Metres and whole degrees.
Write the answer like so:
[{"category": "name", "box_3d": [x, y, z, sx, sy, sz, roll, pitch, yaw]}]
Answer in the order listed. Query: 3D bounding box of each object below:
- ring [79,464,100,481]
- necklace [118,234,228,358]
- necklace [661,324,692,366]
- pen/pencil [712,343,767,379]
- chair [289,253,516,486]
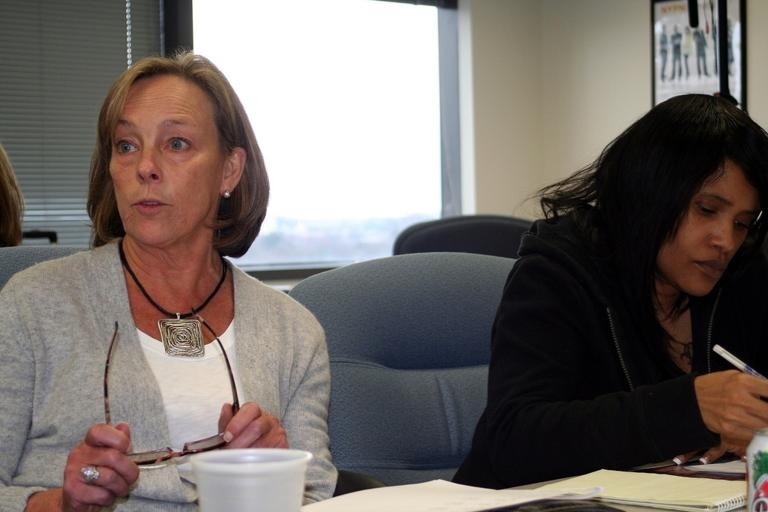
[{"category": "ring", "box_3d": [-0.500, 0.373, 1.140, 0.028, 0.023, 0.009, 6, 11, 3]}, {"category": "necklace", "box_3d": [-0.489, 0.097, 1.517, 0.301, 0.041, 0.385, 6, 49, -23]}, {"category": "necklace", "box_3d": [0.722, 0.216, 1.621, 0.070, 0.096, 0.036, 3, 2, 15]}, {"category": "pen/pencil", "box_3d": [0.778, 0.232, 1.471, 0.149, 0.024, 0.020, 34, 26, 9]}, {"category": "chair", "box_3d": [0.045, 0.362, 2.036, 0.556, 0.699, 0.621, 0, -23, -10]}]
